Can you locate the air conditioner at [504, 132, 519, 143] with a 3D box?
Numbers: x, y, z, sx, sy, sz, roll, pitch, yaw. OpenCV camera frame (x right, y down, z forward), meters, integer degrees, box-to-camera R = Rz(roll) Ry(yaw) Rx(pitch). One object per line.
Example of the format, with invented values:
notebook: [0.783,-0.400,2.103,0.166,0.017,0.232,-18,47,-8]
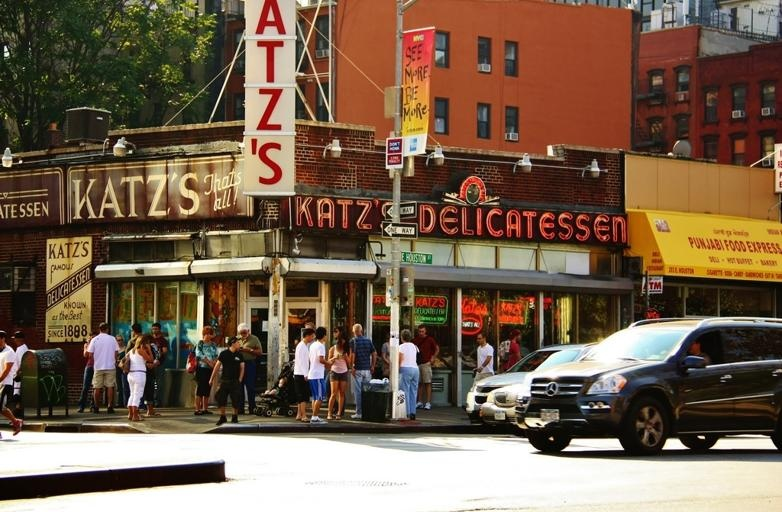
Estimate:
air conditioner: [6.034,-5.984,73.417,0.670,0.503,0.431,0,-8,0]

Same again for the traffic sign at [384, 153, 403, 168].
traffic sign: [0.137,-3.181,49.005,0.502,0.472,0.434,4,0,9]

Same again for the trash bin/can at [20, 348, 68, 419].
trash bin/can: [-11.931,4.337,50.375,0.875,2.245,1.397,-2,-1,34]

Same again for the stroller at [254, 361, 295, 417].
stroller: [-3.825,4.332,49.299,1.342,1.730,1.087,-3,19,-3]

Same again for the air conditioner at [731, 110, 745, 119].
air conditioner: [22.303,-9.110,94.540,0.911,0.600,0.489,1,3,23]

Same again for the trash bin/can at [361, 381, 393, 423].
trash bin/can: [-0.351,4.747,48.340,1.247,1.703,1.220,1,-3,-4]

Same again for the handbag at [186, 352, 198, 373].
handbag: [-6.866,3.675,50.613,0.334,0.722,0.734,6,-11,-14]

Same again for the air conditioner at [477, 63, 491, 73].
air conditioner: [4.634,-9.361,73.167,0.790,0.420,0.547,1,-2,-3]
